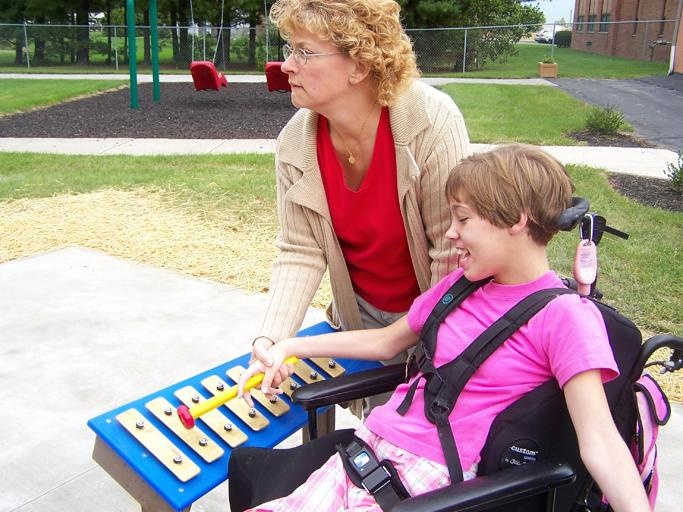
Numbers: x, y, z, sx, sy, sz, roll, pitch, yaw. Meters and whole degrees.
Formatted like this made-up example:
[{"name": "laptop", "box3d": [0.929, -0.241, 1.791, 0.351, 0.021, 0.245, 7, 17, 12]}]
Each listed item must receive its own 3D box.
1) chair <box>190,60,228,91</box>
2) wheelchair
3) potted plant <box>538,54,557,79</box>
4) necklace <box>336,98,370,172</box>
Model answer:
[{"name": "chair", "box3d": [-3.126, -4.161, 13.333, 0.598, 0.662, 1.167, 2, 23, 1]}, {"name": "wheelchair", "box3d": [0.360, 0.211, 2.336, 1.522, 1.545, 1.007, -2, 8, -14]}, {"name": "potted plant", "box3d": [7.226, -6.516, 20.000, 0.604, 0.713, 1.276, 6, 17, 18]}, {"name": "necklace", "box3d": [0.046, -0.481, 2.345, 0.168, 0.240, 0.084, -12, 19, -12]}]
